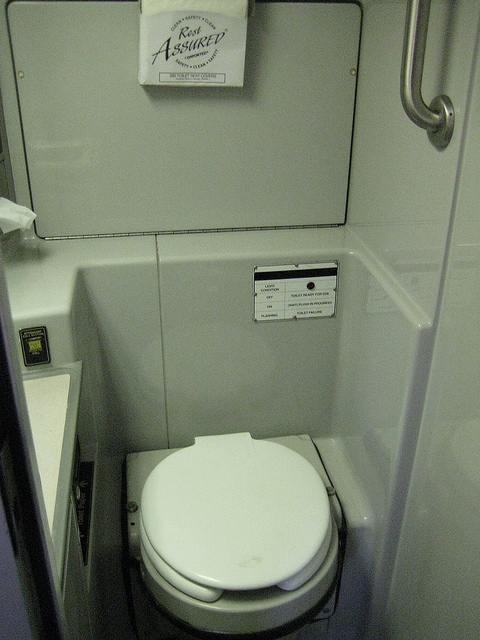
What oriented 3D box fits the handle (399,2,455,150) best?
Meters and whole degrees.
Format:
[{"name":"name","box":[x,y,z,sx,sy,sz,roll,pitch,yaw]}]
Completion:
[{"name":"handle","box":[0.251,-0.329,0.691,0.075,0.177,0.130,3,28,5]}]
